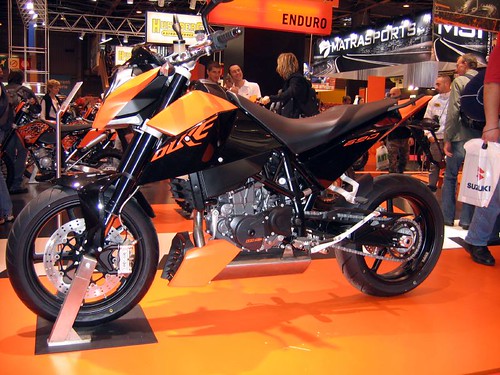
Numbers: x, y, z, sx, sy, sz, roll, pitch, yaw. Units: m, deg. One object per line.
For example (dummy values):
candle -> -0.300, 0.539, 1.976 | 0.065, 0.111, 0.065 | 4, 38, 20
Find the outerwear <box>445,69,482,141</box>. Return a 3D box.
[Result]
outerwear -> 2.564, -0.973, 4.347 | 0.374, 0.875, 1.018 | 8, 13, 27

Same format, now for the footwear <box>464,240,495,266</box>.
footwear -> 2.276, 0.672, 3.633 | 0.143, 0.151, 0.384 | -2, 5, -6

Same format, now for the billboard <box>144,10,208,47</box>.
billboard -> -2.371, -5.150, 11.850 | 2.239, 0.943, 0.223 | 14, 24, 22

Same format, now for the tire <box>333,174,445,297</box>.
tire -> 1.058, 0.402, 2.813 | 0.840, 0.800, 0.239 | -28, 16, -14

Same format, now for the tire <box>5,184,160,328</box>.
tire -> -1.029, 0.467, 2.276 | 1.144, 1.001, 0.227 | 0, 2, -8

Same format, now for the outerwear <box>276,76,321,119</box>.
outerwear -> 0.592, -1.408, 5.585 | 0.732, 0.657, 0.693 | 15, 29, 32
